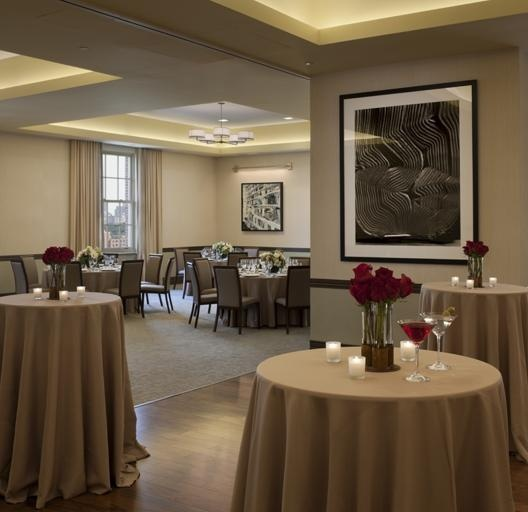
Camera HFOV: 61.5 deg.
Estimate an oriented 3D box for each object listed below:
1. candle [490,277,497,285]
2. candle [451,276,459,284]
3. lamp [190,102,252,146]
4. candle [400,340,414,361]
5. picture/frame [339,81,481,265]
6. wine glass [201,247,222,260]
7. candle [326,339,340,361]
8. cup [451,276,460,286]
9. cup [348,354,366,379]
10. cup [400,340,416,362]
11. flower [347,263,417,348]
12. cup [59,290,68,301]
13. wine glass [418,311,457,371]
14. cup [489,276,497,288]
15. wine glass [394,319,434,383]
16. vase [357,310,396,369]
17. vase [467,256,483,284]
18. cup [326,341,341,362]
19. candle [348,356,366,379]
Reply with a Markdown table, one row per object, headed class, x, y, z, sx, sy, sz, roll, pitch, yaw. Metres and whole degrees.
| class | x | y | z | sx | sy | sz | roll | pitch | yaw |
| --- | --- | --- | --- | --- | --- | --- | --- | --- | --- |
| candle | 2.031 | 0.217 | 3.915 | 0.058 | 0.066 | 0.061 | 1 | 2 | 12 |
| candle | 1.761 | 0.220 | 4.077 | 0.050 | 0.065 | 0.053 | -1 | 4 | -13 |
| lamp | -0.957 | -3.167 | 10.243 | 1.022 | 0.902 | 1.080 | 9 | 14 | 27 |
| candle | 0.626 | 0.419 | 1.974 | 0.074 | 0.092 | 0.070 | 0 | 3 | 2 |
| picture/frame | 1.749 | -0.996 | 5.105 | 1.955 | 2.843 | 0.089 | 0 | 0 | 21 |
| wine glass | -1.363 | -0.052 | 11.295 | 0.378 | 0.155 | 0.340 | -2 | 7 | -33 |
| candle | 0.299 | 0.413 | 1.952 | 0.064 | 0.085 | 0.069 | -1 | 1 | -5 |
| cup | 1.780 | 0.228 | 4.111 | 0.060 | 0.078 | 0.064 | 0 | 3 | 0 |
| cup | 0.354 | 0.411 | 1.656 | 0.062 | 0.080 | 0.065 | -1 | 2 | 0 |
| cup | 0.627 | 0.419 | 1.968 | 0.077 | 0.095 | 0.073 | 0 | 2 | 0 |
| flower | 0.456 | 0.190 | 1.752 | 0.234 | 0.329 | 0.232 | 1 | 2 | 6 |
| cup | -1.292 | 0.251 | 2.857 | 0.058 | 0.074 | 0.059 | 1 | 4 | 0 |
| wine glass | 0.777 | 0.373 | 1.969 | 0.184 | 0.244 | 0.190 | 1 | -3 | 22 |
| cup | 2.031 | 0.228 | 3.921 | 0.057 | 0.074 | 0.061 | -1 | 3 | 0 |
| wine glass | 0.587 | 0.364 | 1.711 | 0.156 | 0.215 | 0.161 | -5 | -11 | 25 |
| vase | 0.461 | 0.320 | 1.777 | 0.112 | 0.296 | 0.117 | -1 | 6 | 1 |
| vase | 1.797 | 0.124 | 3.754 | 0.102 | 0.258 | 0.235 | 1 | 2 | 24 |
| cup | 0.317 | 0.417 | 1.955 | 0.069 | 0.091 | 0.074 | -1 | 2 | 0 |
| candle | 0.352 | 0.410 | 1.657 | 0.062 | 0.079 | 0.065 | 0 | 1 | 28 |
